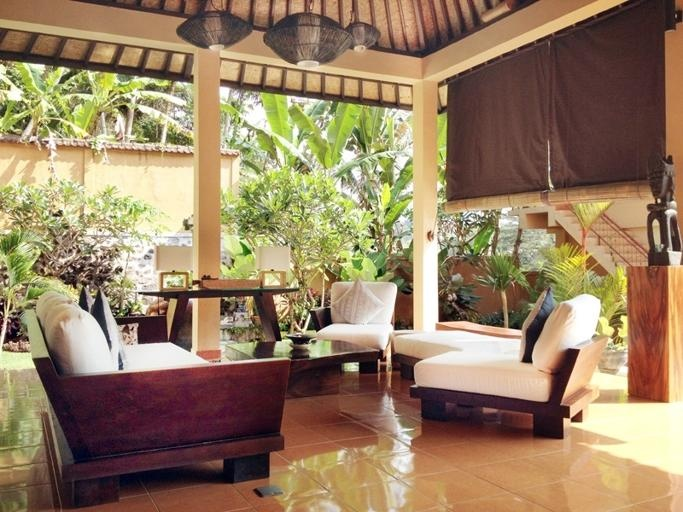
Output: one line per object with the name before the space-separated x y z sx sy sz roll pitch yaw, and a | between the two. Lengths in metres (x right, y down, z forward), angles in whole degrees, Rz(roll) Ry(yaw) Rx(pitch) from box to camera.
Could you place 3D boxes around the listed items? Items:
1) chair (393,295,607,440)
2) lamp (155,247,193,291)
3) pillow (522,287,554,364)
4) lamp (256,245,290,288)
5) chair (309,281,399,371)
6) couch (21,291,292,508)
chair | 1.342 0.878 4.000 1.267 0.762 1.243 -1 -2 24
lamp | -2.093 0.125 6.218 0.435 0.530 0.648 0 1 -17
pillow | 1.492 0.501 3.774 0.138 0.465 0.483 10 -26 2
lamp | -0.924 0.136 6.847 0.396 0.553 1.447 0 1 -5
chair | 0.041 0.766 5.885 0.889 1.170 1.087 -1 -7 15
couch | -1.151 0.799 3.070 1.359 1.085 1.081 0 1 -30
